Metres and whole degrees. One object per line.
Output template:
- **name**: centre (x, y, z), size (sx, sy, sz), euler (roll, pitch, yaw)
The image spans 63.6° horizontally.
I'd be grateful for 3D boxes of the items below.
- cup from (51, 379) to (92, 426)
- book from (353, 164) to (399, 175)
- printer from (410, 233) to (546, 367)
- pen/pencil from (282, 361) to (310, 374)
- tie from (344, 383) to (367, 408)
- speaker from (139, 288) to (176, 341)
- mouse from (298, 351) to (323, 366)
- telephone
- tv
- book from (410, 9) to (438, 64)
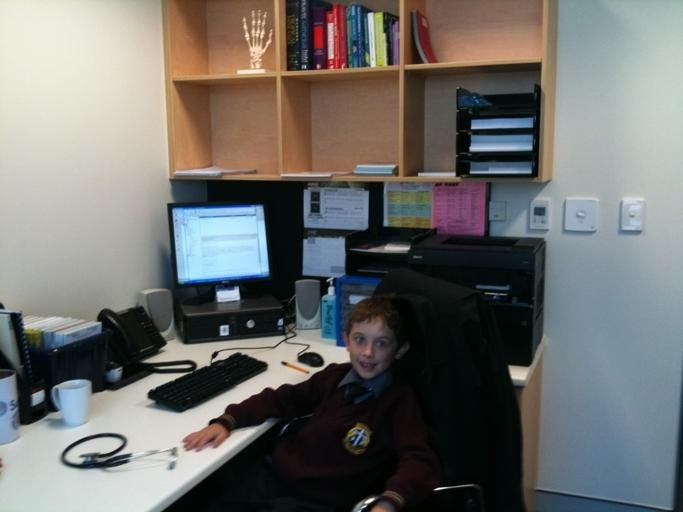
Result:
- **cup**: centre (-0.940, 0.484, 1.919), size (0.141, 0.149, 0.112), euler (-3, 15, -33)
- **book**: centre (0.160, -0.388, 2.529), size (0.196, 0.050, 0.075), euler (-2, 8, 7)
- **printer**: centre (0.639, 0.123, 2.590), size (0.596, 0.544, 0.543), euler (6, 10, 18)
- **pen/pencil**: centre (-0.186, 0.466, 2.279), size (0.023, 0.023, 0.156), euler (4, 3, -45)
- **tie**: centre (0.046, 0.482, 1.896), size (0.071, 0.070, 0.024), euler (13, 4, 15)
- **speaker**: centre (-0.844, 0.249, 2.558), size (0.132, 0.245, 0.128), euler (9, 15, 10)
- **mouse**: centre (-0.126, 0.427, 2.315), size (0.086, 0.031, 0.051), euler (10, 14, 34)
- **telephone**: centre (-0.902, 0.334, 2.369), size (0.166, 0.234, 0.312), euler (5, 9, 12)
- **tv**: centre (-0.604, -0.017, 2.710), size (0.521, 0.459, 0.071), euler (-3, 1, -19)
- **book**: centre (0.362, -0.971, 2.464), size (0.056, 0.225, 0.238), euler (0, 2, 29)
